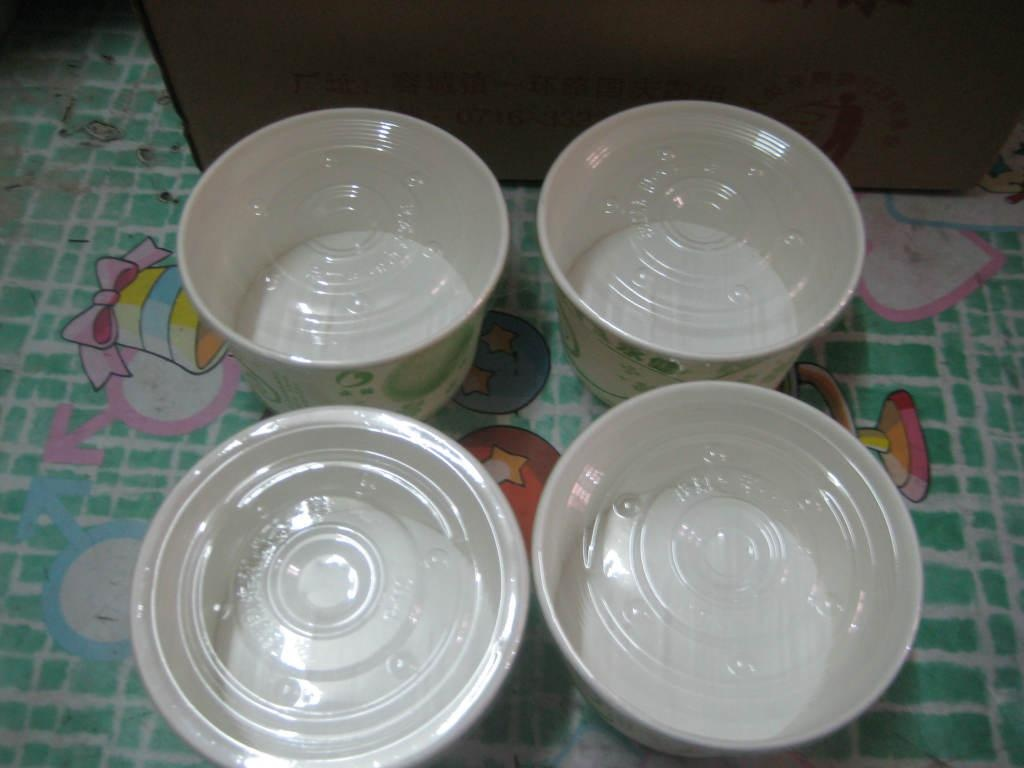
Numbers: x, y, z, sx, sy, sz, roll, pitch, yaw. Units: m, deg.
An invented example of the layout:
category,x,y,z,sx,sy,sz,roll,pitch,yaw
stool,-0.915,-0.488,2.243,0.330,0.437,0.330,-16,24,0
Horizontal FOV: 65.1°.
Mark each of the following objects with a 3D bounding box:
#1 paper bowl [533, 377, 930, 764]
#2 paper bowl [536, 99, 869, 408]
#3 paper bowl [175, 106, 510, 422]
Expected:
category,x,y,z,sx,sy,sz,roll,pitch,yaw
paper bowl,0.221,0.190,0.882,0.407,0.158,0.381,1,72,-2
paper bowl,0.229,-0.147,1.163,0.375,0.247,0.412,1,69,-2
paper bowl,-0.193,-0.132,1.005,0.355,0.241,0.408,-16,63,-8
